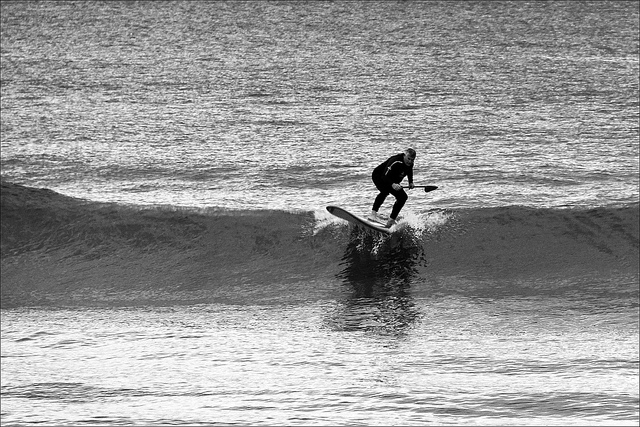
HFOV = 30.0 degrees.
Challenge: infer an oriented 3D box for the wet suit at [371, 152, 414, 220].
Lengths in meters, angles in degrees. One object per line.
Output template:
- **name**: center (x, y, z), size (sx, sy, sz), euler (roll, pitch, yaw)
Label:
- **wet suit**: center (2.332, -0.858, 38.933), size (1.289, 2.462, 0.869), euler (10, 24, 1)
